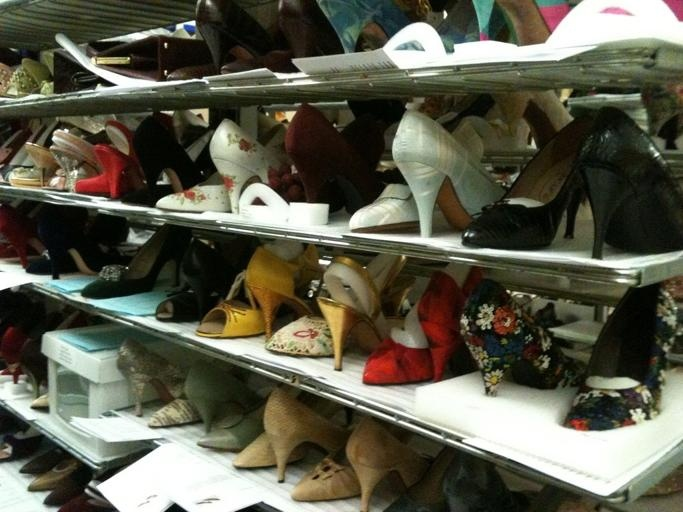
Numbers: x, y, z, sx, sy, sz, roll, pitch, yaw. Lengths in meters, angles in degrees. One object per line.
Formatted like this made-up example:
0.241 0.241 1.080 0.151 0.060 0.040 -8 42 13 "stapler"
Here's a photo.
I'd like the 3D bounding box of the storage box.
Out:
-0.900 0.539 2.249 0.608 0.352 0.617 7 8 44 "storage box"
